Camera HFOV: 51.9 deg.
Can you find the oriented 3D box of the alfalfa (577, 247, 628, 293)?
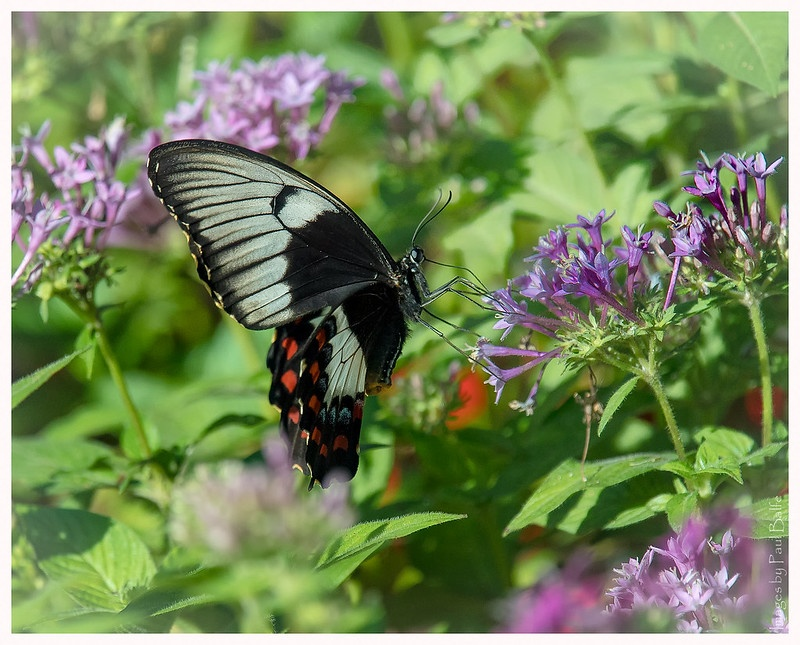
[{"bbox_3d":[0.509,-0.142,2.158,0.107,0.108,0.120,10,36,38],"label":"alfalfa"}]

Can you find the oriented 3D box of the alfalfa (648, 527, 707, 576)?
[{"bbox_3d":[0.779,0.642,2.300,0.139,0.095,0.138,-31,0,-44],"label":"alfalfa"}]

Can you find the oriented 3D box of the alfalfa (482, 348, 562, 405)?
[{"bbox_3d":[0.349,0.140,2.317,0.154,0.080,0.183,12,4,37],"label":"alfalfa"}]

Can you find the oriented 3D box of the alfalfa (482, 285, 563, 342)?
[{"bbox_3d":[0.336,-0.024,2.260,0.155,0.081,0.155,14,19,-19],"label":"alfalfa"}]

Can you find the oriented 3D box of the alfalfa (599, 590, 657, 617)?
[{"bbox_3d":[0.668,0.815,2.344,0.107,0.057,0.110,1,3,-2],"label":"alfalfa"}]

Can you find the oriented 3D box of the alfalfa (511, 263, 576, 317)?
[{"bbox_3d":[0.390,-0.070,2.226,0.068,0.161,0.156,-31,37,-22],"label":"alfalfa"}]
